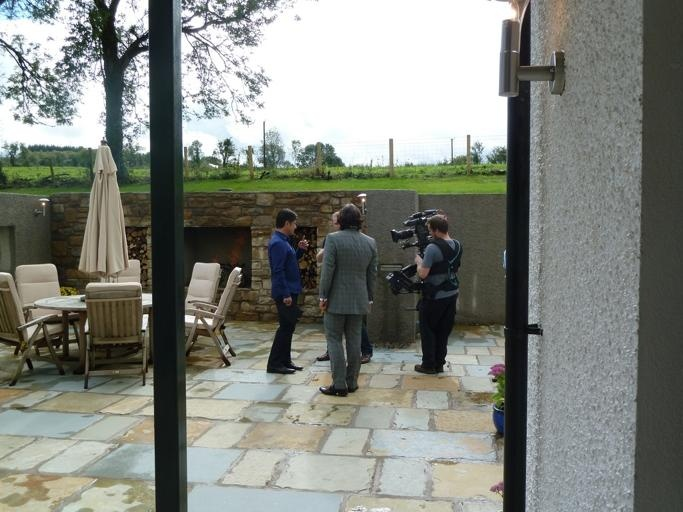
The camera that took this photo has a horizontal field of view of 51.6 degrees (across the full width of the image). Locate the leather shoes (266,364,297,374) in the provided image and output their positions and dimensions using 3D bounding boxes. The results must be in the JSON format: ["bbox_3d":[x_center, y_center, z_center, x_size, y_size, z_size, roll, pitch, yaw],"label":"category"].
[{"bbox_3d":[-0.619,1.163,7.178,0.293,0.129,0.103,0,-1,1],"label":"leather shoes"}]

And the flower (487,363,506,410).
[{"bbox_3d":[1.153,0.971,5.163,0.172,0.322,0.190,-2,-1,25],"label":"flower"}]

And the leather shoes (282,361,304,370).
[{"bbox_3d":[-0.511,1.148,7.259,0.233,0.103,0.081,-1,1,8],"label":"leather shoes"}]

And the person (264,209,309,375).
[{"bbox_3d":[-0.595,0.375,7.231,0.364,1.683,0.853,-1,7,-7],"label":"person"}]

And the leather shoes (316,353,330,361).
[{"bbox_3d":[-0.204,1.146,7.785,0.154,0.066,0.164,3,-5,-4],"label":"leather shoes"}]

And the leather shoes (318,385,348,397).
[{"bbox_3d":[-0.074,1.223,6.306,0.250,0.116,0.095,5,-1,19],"label":"leather shoes"}]

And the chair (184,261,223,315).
[{"bbox_3d":[-1.625,0.362,8.479,0.416,0.665,0.560,4,1,20],"label":"chair"}]

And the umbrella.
[{"bbox_3d":[-2.513,-0.447,7.452,0.474,1.508,0.500,1,7,9],"label":"umbrella"}]

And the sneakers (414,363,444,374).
[{"bbox_3d":[0.880,1.141,7.060,0.104,0.119,0.281,-4,9,-37],"label":"sneakers"}]

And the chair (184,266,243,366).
[{"bbox_3d":[-1.455,0.715,7.961,0.925,1.127,0.776,-1,-3,-6],"label":"chair"}]

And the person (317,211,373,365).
[{"bbox_3d":[0.011,0.420,7.478,0.577,1.971,0.551,-2,21,-14],"label":"person"}]

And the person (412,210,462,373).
[{"bbox_3d":[0.963,0.402,7.076,0.470,1.579,0.307,-2,7,-11],"label":"person"}]

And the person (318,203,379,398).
[{"bbox_3d":[0.065,0.398,6.340,0.404,1.681,0.574,5,9,40],"label":"person"}]

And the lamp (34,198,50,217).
[{"bbox_3d":[-4.851,-0.779,11.404,0.099,0.286,0.385,2,7,19],"label":"lamp"}]
